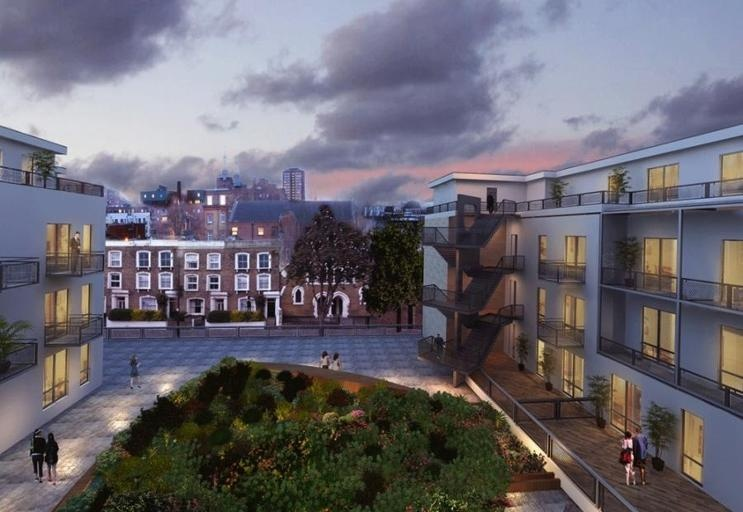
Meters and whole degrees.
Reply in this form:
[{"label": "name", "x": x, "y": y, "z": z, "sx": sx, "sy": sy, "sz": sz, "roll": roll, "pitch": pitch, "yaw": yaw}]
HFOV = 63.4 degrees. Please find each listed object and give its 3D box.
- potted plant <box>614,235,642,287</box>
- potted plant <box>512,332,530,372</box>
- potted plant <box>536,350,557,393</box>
[{"label": "potted plant", "x": 13.529, "y": 0.242, "z": 32.004, "sx": 1.265, "sy": 2.346, "sz": 1.444, "roll": 8, "pitch": 16, "yaw": 30}, {"label": "potted plant", "x": 9.461, "y": 6.054, "z": 37.829, "sx": 0.697, "sy": 2.134, "sz": 1.085, "roll": -2, "pitch": 14, "yaw": -5}, {"label": "potted plant", "x": 10.279, "y": 6.536, "z": 35.483, "sx": 0.736, "sy": 2.143, "sz": 1.867, "roll": 0, "pitch": 14, "yaw": 3}]
